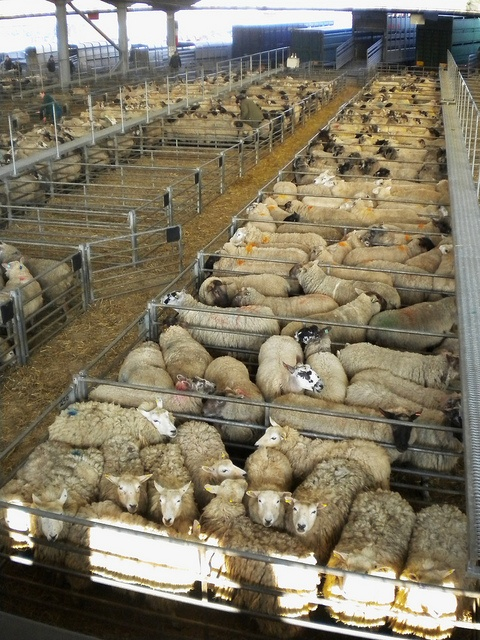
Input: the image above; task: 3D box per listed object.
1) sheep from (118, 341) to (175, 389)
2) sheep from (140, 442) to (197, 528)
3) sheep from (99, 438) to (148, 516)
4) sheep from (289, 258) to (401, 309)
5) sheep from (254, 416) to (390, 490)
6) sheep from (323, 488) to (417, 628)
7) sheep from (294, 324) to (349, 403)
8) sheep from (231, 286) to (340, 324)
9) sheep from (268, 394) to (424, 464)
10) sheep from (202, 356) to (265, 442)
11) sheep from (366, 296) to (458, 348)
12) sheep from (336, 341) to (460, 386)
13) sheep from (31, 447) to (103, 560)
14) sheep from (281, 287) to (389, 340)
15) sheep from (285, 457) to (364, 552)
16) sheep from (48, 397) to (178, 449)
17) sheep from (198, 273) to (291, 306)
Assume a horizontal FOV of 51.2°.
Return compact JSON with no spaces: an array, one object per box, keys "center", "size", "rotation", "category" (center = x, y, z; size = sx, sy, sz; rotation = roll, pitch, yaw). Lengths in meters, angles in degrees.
[{"center":[-1.022,0.484,5.383],"size":[0.465,0.288,0.851],"rotation":[7,17,-13],"category":"sheep"},{"center":[-0.532,1.208,3.740],"size":[0.232,0.355,0.694],"rotation":[-6,16,-8],"category":"sheep"},{"center":[-0.891,1.142,3.829],"size":[0.233,0.320,0.681],"rotation":[-3,22,-12],"category":"sheep"},{"center":[1.471,-0.561,7.426],"size":[1.674,0.525,0.864],"rotation":[11,-14,-5],"category":"sheep"},{"center":[0.709,1.272,4.295],"size":[1.327,0.617,0.394],"rotation":[11,-10,-16],"category":"sheep"},{"center":[0.817,1.399,3.083],"size":[0.354,0.411,1.025],"rotation":[8,18,15],"category":"sheep"},{"center":[0.833,0.510,5.402],"size":[0.336,0.545,0.980],"rotation":[-3,46,7],"category":"sheep"},{"center":[0.603,-0.187,6.649],"size":[0.911,0.460,0.232],"rotation":[3,56,0],"category":"sheep"},{"center":[0.898,0.957,4.309],"size":[1.054,0.511,0.282],"rotation":[8,38,9],"category":"sheep"},{"center":[-0.057,0.789,5.040],"size":[0.417,0.417,0.833],"rotation":[-1,17,-6],"category":"sheep"},{"center":[2.111,0.043,6.183],"size":[0.848,0.325,0.481],"rotation":[-12,-10,-1],"category":"sheep"},{"center":[1.569,0.494,5.556],"size":[1.513,0.414,0.768],"rotation":[3,-14,4],"category":"sheep"},{"center":[-1.240,1.256,3.625],"size":[0.256,0.376,0.754],"rotation":[1,15,-8],"category":"sheep"},{"center":[1.317,0.049,6.513],"size":[1.528,0.721,0.487],"rotation":[-10,21,-18],"category":"sheep"},{"center":[0.639,1.277,3.626],"size":[0.319,0.477,0.740],"rotation":[10,25,21],"category":"sheep"},{"center":[-1.180,0.974,4.635],"size":[1.072,0.478,0.485],"rotation":[5,29,-17],"category":"sheep"},{"center":[0.041,-0.457,7.321],"size":[1.446,0.702,0.511],"rotation":[2,1,3],"category":"sheep"}]
